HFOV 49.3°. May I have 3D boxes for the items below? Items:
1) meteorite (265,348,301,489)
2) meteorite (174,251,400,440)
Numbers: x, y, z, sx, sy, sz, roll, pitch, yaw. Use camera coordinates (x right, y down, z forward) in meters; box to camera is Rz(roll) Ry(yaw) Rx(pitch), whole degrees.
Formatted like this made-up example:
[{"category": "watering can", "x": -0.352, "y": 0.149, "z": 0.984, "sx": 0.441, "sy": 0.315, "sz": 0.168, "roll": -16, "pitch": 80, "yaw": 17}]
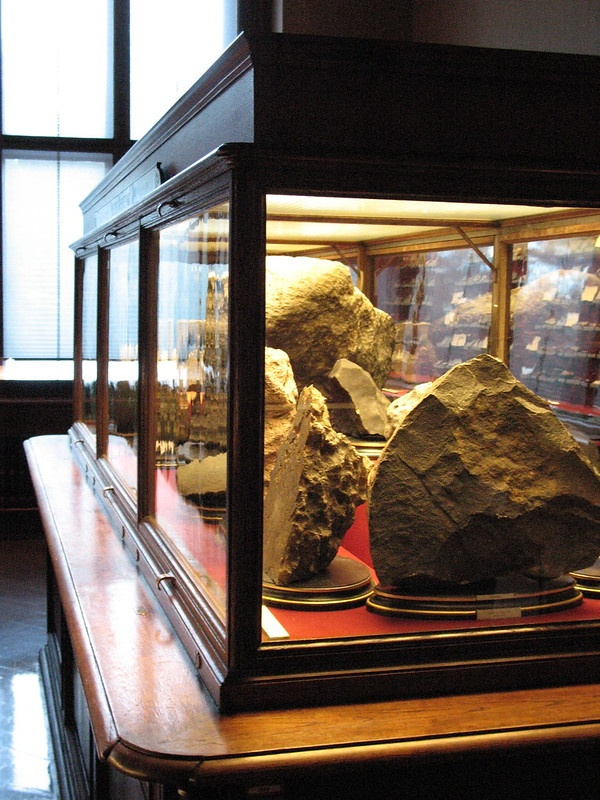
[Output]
[{"category": "meteorite", "x": -0.040, "y": 0.039, "z": 1.175, "sx": 0.043, "sy": 0.189, "sz": 0.136, "roll": 1, "pitch": -7, "yaw": -10}, {"category": "meteorite", "x": -0.027, "y": -0.113, "z": 1.262, "sx": 0.343, "sy": 0.323, "sz": 0.351, "roll": 2, "pitch": 3, "yaw": 37}]
